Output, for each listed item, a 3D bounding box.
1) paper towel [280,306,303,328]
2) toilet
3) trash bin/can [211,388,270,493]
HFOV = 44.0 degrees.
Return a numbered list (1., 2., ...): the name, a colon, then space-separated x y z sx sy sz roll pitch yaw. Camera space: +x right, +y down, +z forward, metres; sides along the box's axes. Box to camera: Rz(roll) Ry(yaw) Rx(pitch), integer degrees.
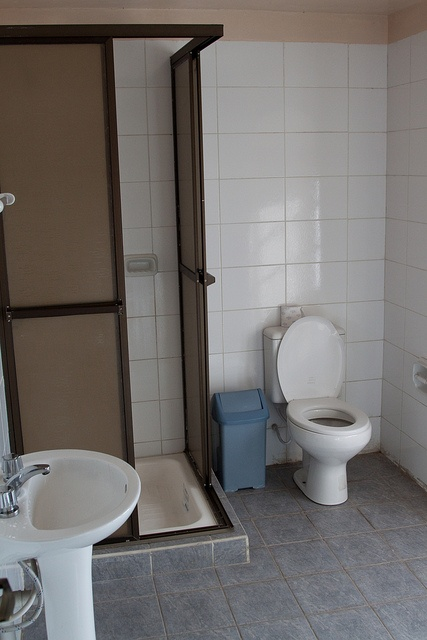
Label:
1. paper towel: 0.419 -0.015 2.824 0.110 0.110 0.035 -1 2 0
2. toilet: 0.510 0.458 2.662 0.482 0.901 0.521 -1 9 4
3. trash bin/can: 0.146 0.647 2.754 0.260 0.511 0.213 -2 9 -5
